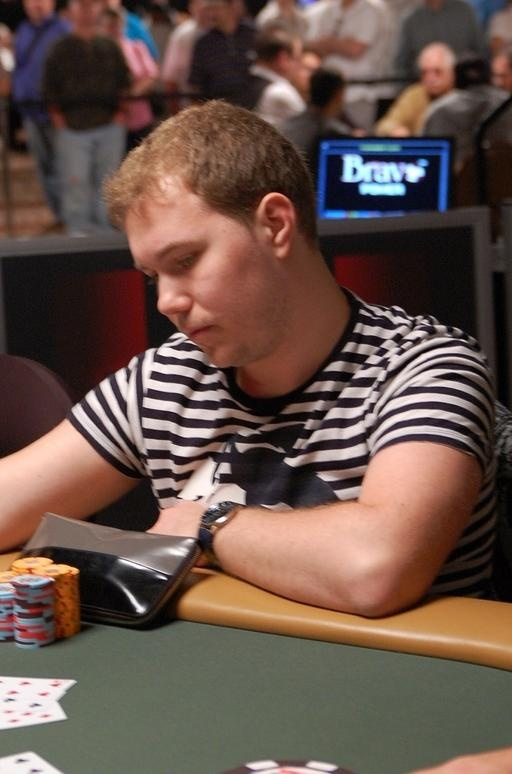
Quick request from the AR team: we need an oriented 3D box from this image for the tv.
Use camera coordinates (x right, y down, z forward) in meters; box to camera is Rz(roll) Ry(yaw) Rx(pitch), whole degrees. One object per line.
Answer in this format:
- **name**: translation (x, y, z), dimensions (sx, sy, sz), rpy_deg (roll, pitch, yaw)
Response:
- **tv**: translation (0.614, -1.019, 3.535), dimensions (0.652, 0.382, 0.060), rpy_deg (-3, 17, -8)
